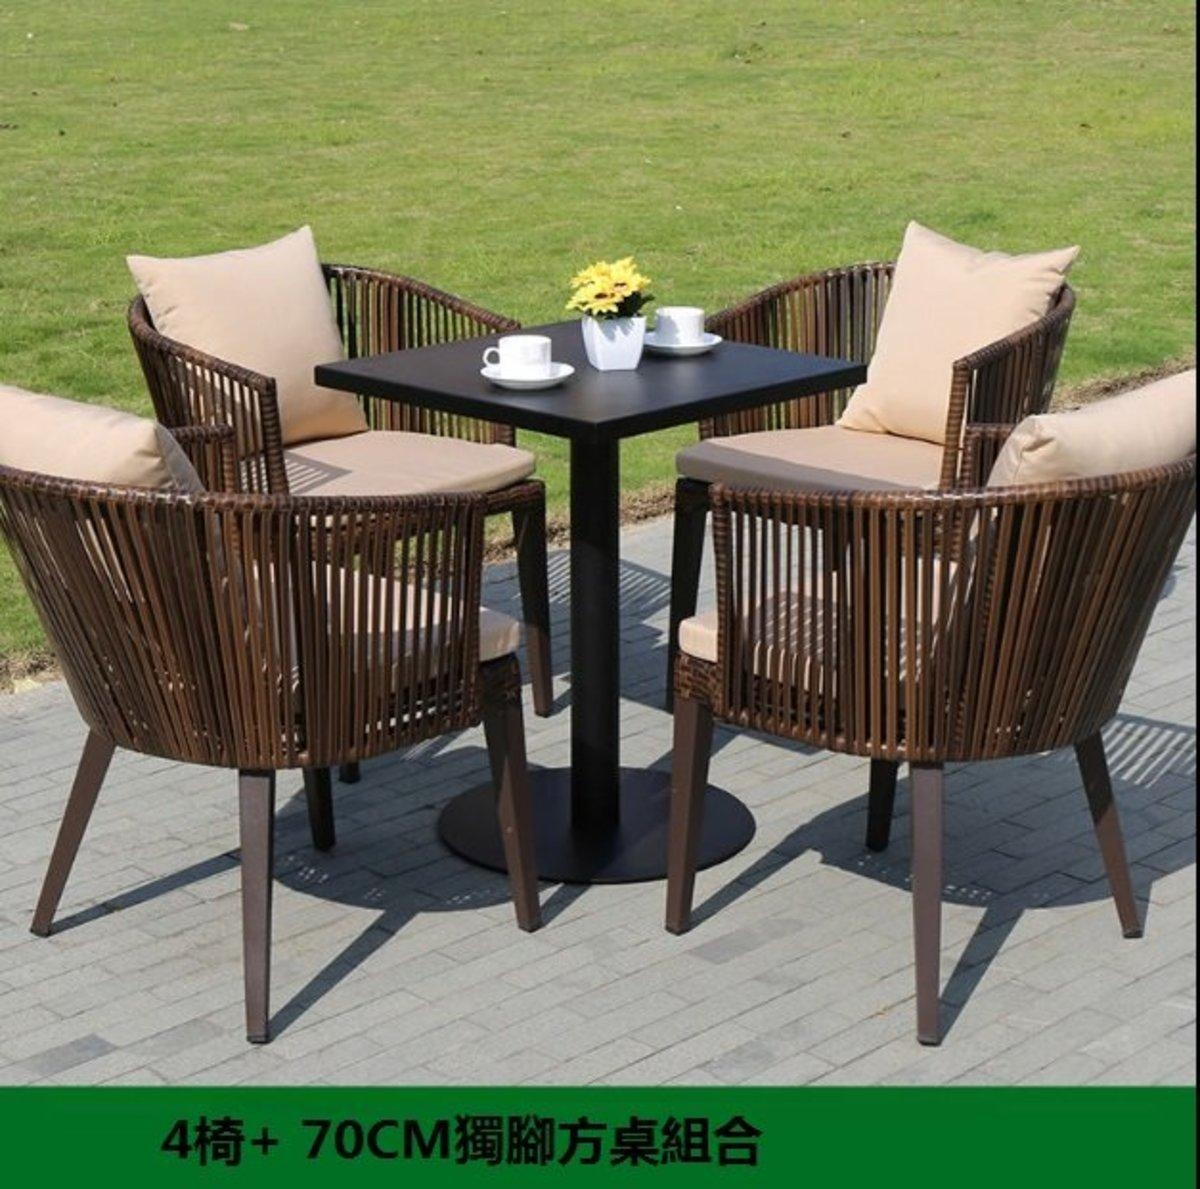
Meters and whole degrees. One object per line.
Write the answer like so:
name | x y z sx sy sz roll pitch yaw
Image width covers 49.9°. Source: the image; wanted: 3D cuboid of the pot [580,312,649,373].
pot | 0.031 -0.567 2.984 0.185 0.092 0.117 1 17 4

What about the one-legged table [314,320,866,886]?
one-legged table | 0.029 -0.178 3.311 1.397 1.274 1.408 18 26 41

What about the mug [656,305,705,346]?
mug | 0.177 -0.649 3.173 0.126 0.061 0.116 14 28 28

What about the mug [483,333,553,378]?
mug | -0.167 -0.511 2.854 0.197 0.087 0.122 -4 24 -8
